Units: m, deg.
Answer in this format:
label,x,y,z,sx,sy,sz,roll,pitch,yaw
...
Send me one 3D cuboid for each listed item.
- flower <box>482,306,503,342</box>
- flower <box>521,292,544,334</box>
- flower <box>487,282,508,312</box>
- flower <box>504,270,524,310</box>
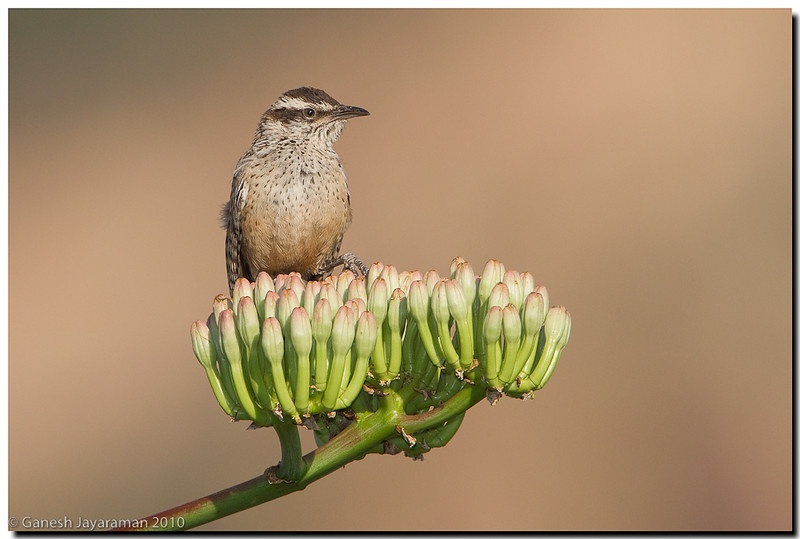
label,x,y,z,sx,sy,sz,roll,pitch,yaw
flower,0.462,0.277,4.503,0.082,0.166,0.096,15,10,40
flower,0.679,0.234,4.544,0.098,0.100,0.340,8,-52,11
flower,0.497,0.146,4.533,0.114,0.156,0.082,-10,-29,4
flower,0.604,0.096,4.725,0.098,0.097,0.310,1,-42,10
